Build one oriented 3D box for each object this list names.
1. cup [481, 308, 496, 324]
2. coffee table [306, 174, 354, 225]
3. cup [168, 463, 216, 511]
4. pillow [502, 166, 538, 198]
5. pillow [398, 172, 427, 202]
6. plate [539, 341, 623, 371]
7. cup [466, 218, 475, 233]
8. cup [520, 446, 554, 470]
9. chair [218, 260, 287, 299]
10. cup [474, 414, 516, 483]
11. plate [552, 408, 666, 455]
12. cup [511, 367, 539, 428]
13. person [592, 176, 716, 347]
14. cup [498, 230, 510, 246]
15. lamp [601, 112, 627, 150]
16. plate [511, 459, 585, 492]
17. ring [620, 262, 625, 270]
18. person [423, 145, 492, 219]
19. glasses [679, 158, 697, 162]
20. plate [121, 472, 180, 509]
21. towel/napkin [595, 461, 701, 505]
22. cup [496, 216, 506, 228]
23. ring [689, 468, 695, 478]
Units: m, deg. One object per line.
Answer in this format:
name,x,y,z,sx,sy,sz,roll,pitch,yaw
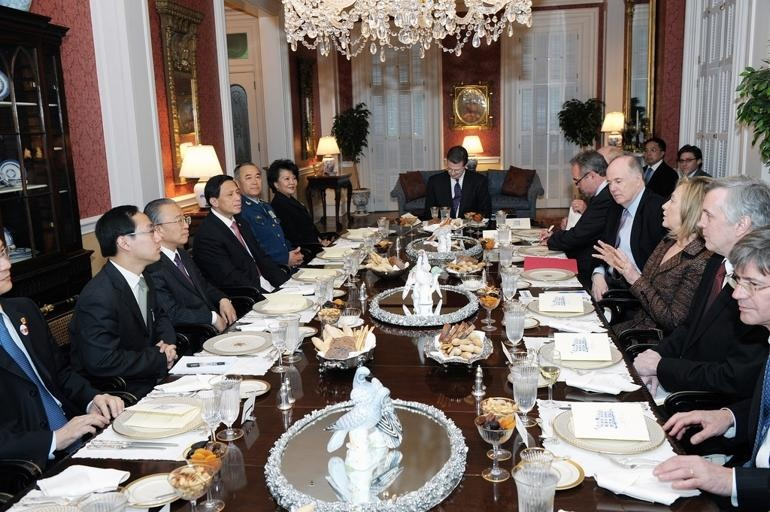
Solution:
cup,0.572,0.333,3.036,0.078,0.089,0.078,0,5,0
coffee table,-1.033,-1.300,10.389,0.780,1.056,1.265,-1,13,3
cup,-0.622,0.730,1.789,0.128,0.138,0.128,5,-1,0
pillow,2.478,-1.332,10.029,0.180,0.569,0.588,27,-6,-42
pillow,0.523,-1.292,10.060,0.536,0.539,0.161,-14,-9,-44
plate,0.880,0.406,2.393,0.232,0.025,0.233,-4,7,-12
cup,0.846,-0.305,5.419,0.147,0.159,0.126,0,4,5
cup,0.500,0.670,1.801,0.089,0.067,0.082,-1,1,0
chair,-1.079,0.176,4.470,0.378,0.489,0.365,3,17,11
cup,0.399,0.653,1.971,0.127,0.211,0.240,-2,14,12
plate,0.852,0.668,2.019,0.196,0.021,0.196,-4,12,-3
cup,0.550,0.525,2.148,0.096,0.283,0.202,-1,14,13
person,1.912,0.019,4.394,0.492,1.594,0.534,-22,34,-19
cup,0.934,-0.146,4.312,0.085,0.134,0.089,-5,21,2
lamp,4.220,-2.370,10.115,0.377,0.578,1.245,1,15,23
plate,0.613,0.764,1.941,0.180,0.019,0.183,1,7,36
ring,1.517,0.068,3.491,0.031,0.031,0.011,2,1,0
person,0.826,-0.577,6.411,0.754,1.458,0.541,4,-17,1
glasses,3.416,-1.097,6.171,0.140,0.053,0.042,9,19,43
plate,-0.808,0.822,1.898,0.159,0.017,0.161,2,15,-2
towel/napkin,0.855,0.751,1.844,0.202,0.031,0.140,1,9,23
cup,1.019,-0.300,4.824,0.104,0.118,0.108,-1,2,0
ring,1.050,0.746,1.876,0.023,0.025,0.024,-2,-1,0
